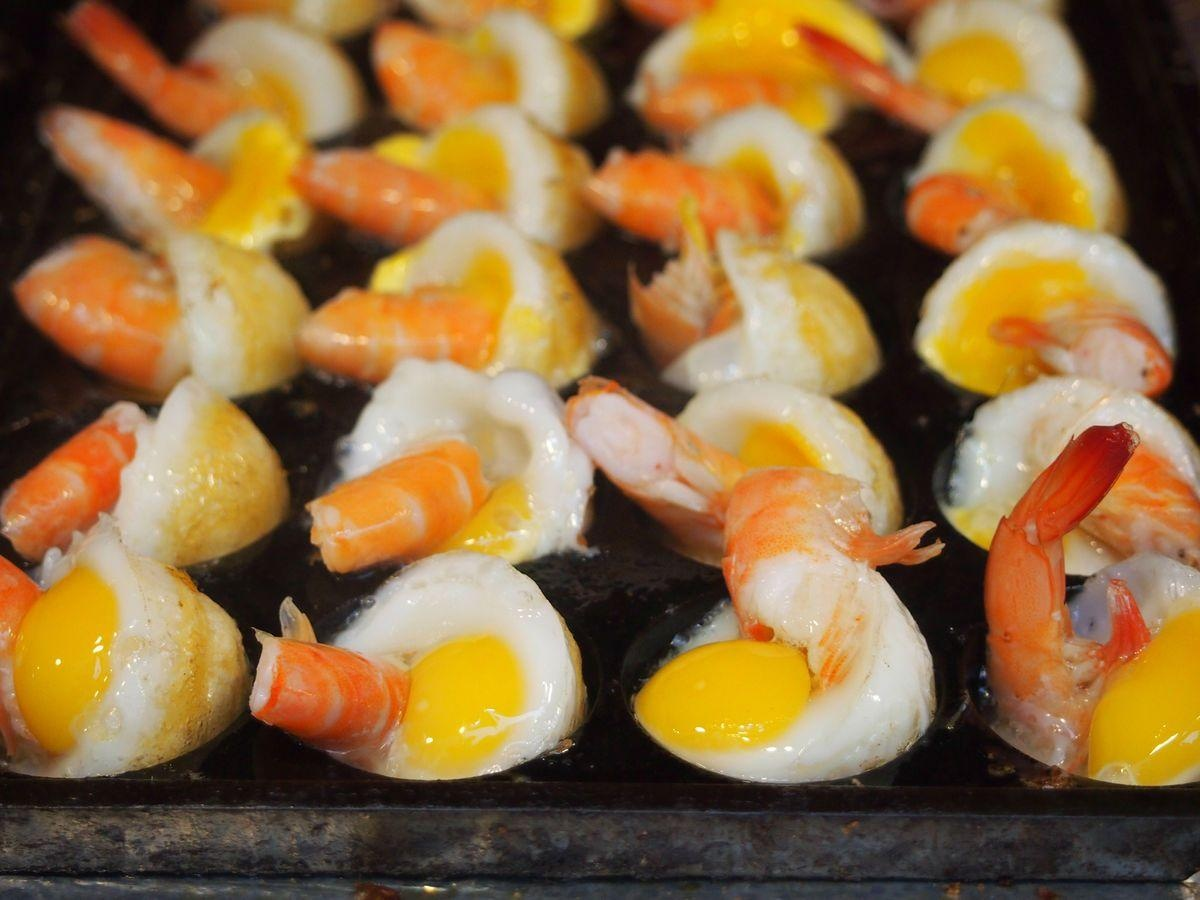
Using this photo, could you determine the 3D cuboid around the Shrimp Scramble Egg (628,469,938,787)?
[{"bbox_3d":[0.179,0.174,1.457,0.267,0.093,0.318,15,70,12],"label":"Shrimp Scramble Egg"}]
